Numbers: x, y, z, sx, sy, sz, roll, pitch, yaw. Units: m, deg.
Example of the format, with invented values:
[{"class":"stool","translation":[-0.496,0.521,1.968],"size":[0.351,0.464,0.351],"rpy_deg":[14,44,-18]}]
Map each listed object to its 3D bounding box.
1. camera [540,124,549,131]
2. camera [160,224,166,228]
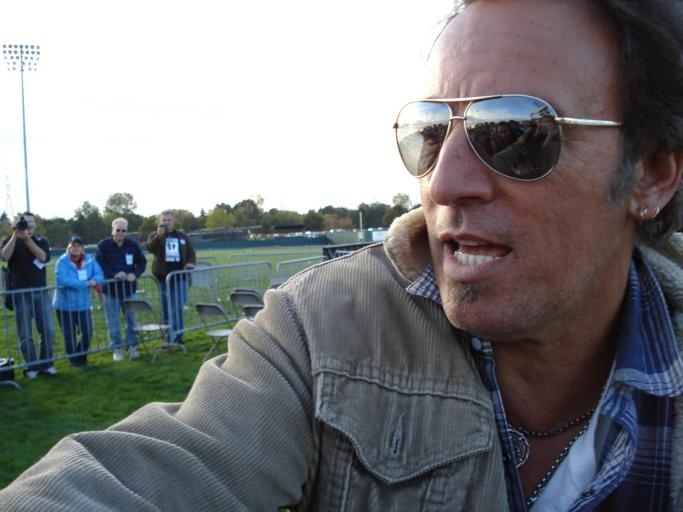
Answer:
[{"class":"camera","translation":[0.615,-0.393,2.074],"size":[0.016,0.014,0.025],"rpy_deg":[1,4,6]},{"class":"camera","translation":[-2.773,-0.467,10.684],"size":[0.047,0.030,0.061],"rpy_deg":[7,16,20]}]
